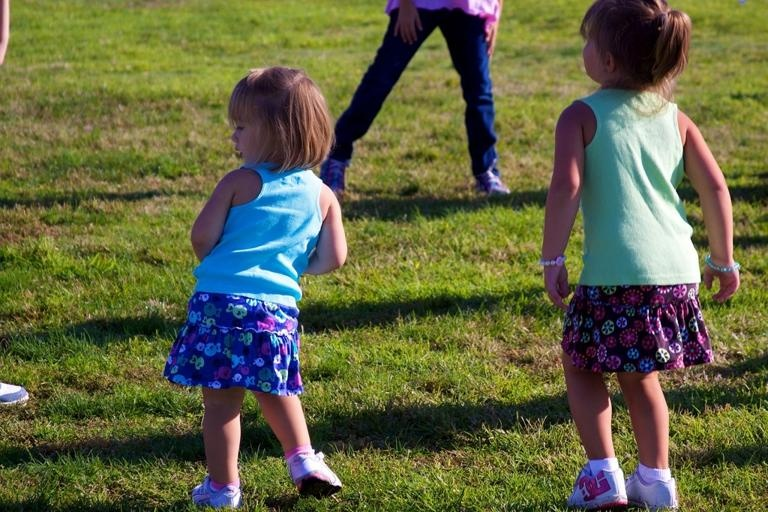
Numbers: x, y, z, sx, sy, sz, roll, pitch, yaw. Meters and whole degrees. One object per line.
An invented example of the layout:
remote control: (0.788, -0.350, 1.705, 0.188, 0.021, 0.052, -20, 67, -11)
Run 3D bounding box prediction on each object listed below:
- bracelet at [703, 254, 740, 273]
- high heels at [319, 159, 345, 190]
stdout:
bracelet: (2.321, 0.031, 9.781, 0.156, 0.053, 0.190, 25, -10, -25)
high heels: (-0.457, -0.733, 12.496, 0.168, 0.200, 0.291, -18, 46, 2)
